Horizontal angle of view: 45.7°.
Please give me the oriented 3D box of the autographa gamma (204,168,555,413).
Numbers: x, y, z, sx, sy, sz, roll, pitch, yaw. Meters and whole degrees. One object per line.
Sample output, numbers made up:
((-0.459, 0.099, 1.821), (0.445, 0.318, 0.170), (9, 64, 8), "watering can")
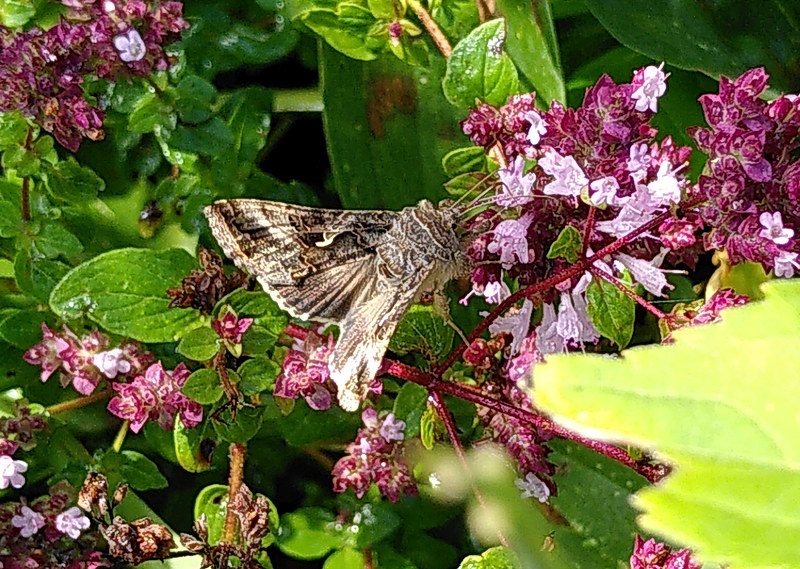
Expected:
((-0.035, -0.014, 1.133), (0.307, 0.150, 0.276), (-25, 40, -11), "autographa gamma")
